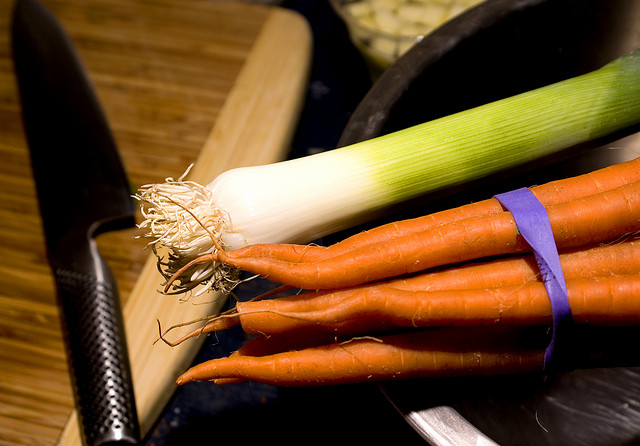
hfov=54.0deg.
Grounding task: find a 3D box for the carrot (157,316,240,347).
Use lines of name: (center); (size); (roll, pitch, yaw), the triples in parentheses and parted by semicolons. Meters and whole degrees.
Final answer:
carrot: (-0.208, 0.190, 1.131); (0.154, 0.036, 0.031); (-14, 38, -36)
